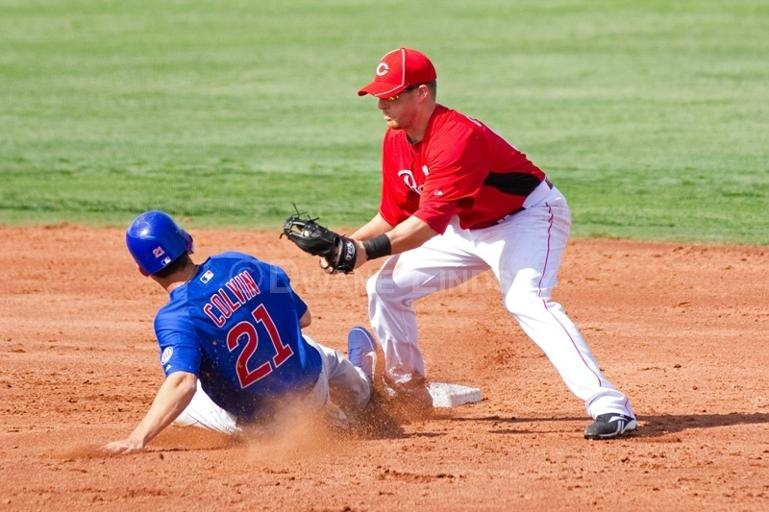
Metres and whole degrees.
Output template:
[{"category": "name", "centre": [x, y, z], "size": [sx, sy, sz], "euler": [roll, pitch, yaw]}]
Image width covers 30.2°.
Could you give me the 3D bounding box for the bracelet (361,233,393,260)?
[{"category": "bracelet", "centre": [-0.083, -0.087, 16.342], "size": [0.313, 0.197, 0.289], "euler": [-15, -4, -16]}]

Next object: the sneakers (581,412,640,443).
[{"category": "sneakers", "centre": [2.571, 1.960, 16.302], "size": [0.611, 0.199, 0.264], "euler": [0, 0, -7]}]
